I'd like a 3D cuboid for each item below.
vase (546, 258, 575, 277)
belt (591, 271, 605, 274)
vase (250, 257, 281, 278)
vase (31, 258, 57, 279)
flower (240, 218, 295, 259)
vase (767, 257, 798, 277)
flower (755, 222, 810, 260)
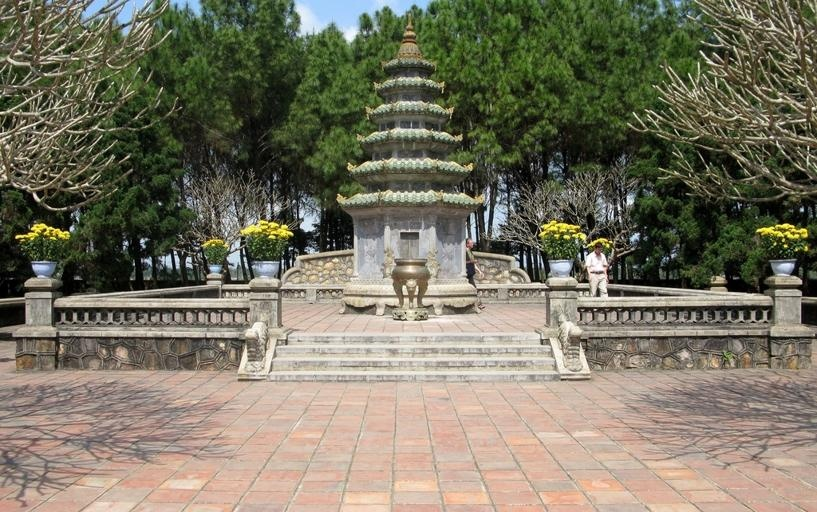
[{"bbox_3d":[3.372,0.283,14.307,0.504,0.347,0.496,0,-7,-1],"label":"vase"},{"bbox_3d":[5.425,0.494,18.670,0.356,0.091,0.086,1,7,13],"label":"belt"},{"bbox_3d":[-3.089,0.309,13.953,0.497,0.398,0.806,-2,7,-17],"label":"vase"},{"bbox_3d":[-8.115,0.288,14.259,0.501,0.330,0.495,1,-1,2],"label":"vase"},{"bbox_3d":[-3.219,-0.279,14.703,1.070,0.886,1.109,-17,-10,27],"label":"flower"},{"bbox_3d":[8.108,0.224,14.040,0.511,0.334,0.504,1,-9,0],"label":"vase"},{"bbox_3d":[10.517,-0.385,18.113,1.394,0.950,1.215,0,-6,1],"label":"flower"}]
